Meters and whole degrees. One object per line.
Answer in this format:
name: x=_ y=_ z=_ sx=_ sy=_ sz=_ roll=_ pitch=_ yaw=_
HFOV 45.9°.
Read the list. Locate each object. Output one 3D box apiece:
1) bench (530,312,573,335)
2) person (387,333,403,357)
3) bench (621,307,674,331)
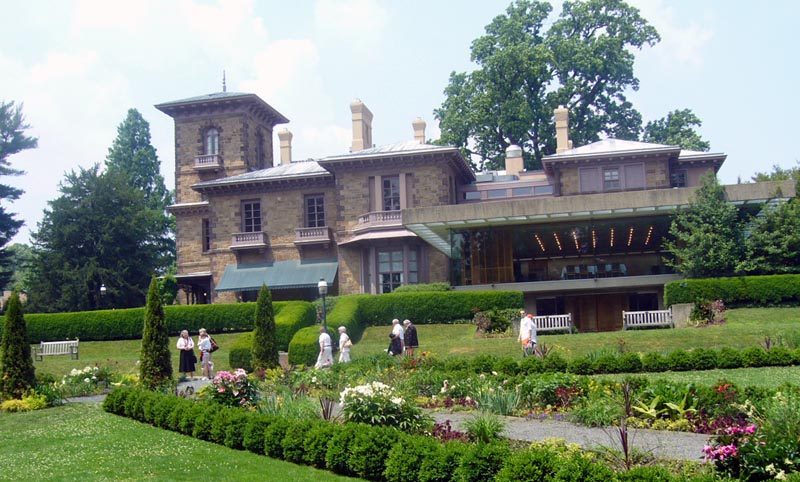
bench: x=9.532 y=5.121 z=58.682 sx=2.316 sy=1.273 sz=1.314 roll=-1 pitch=-3 yaw=17
person: x=-0.249 y=5.564 z=51.543 sx=0.746 sy=1.197 sz=1.325 roll=-2 pitch=-7 yaw=2
bench: x=15.225 y=4.727 z=57.880 sx=2.934 sy=1.139 sz=1.084 roll=-4 pitch=-7 yaw=11
